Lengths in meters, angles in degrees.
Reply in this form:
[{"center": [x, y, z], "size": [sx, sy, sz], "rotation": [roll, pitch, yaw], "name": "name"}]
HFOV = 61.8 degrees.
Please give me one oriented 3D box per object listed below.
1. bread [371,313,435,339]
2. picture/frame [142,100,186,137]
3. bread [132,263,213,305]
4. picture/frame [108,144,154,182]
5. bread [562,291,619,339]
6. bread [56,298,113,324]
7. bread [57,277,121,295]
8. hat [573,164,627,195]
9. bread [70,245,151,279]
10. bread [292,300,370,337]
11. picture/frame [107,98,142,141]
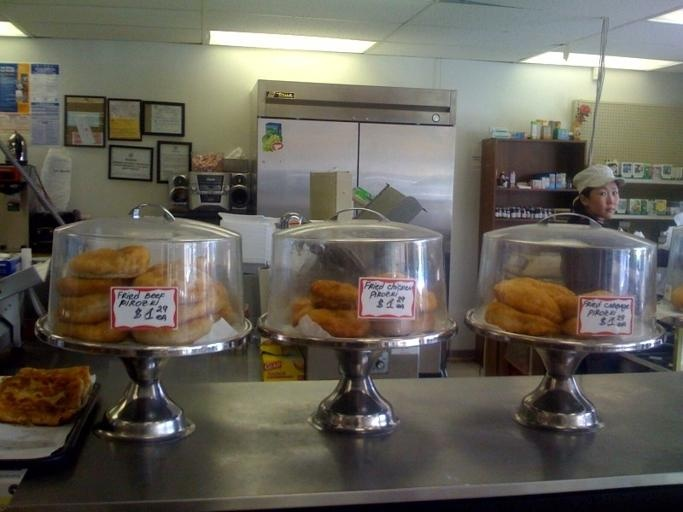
[{"center": [0.156, 0.171, 1.395], "size": [0.166, 0.045, 0.042], "rotation": [-5, 15, -21], "name": "bread"}, {"center": [-1.517, -1.166, 4.811], "size": [0.325, 0.271, 0.024], "rotation": [0, 6, -10], "name": "picture/frame"}, {"center": [-0.387, 0.046, 1.332], "size": [0.120, 0.035, 0.111], "rotation": [12, 10, 27], "name": "bread"}, {"center": [-1.795, -0.793, 4.822], "size": [0.328, 0.270, 0.027], "rotation": [0, 1, -14], "name": "picture/frame"}, {"center": [0.590, 0.138, 1.383], "size": [0.111, 0.108, 0.038], "rotation": [-2, 0, 11], "name": "bread"}, {"center": [-0.601, 0.121, 1.325], "size": [0.148, 0.070, 0.036], "rotation": [8, 16, 25], "name": "bread"}, {"center": [-0.591, 0.073, 1.328], "size": [0.170, 0.048, 0.029], "rotation": [5, 15, 15], "name": "bread"}, {"center": [1.684, -0.516, 3.892], "size": [0.321, 0.187, 0.425], "rotation": [-7, 7, -26], "name": "hat"}, {"center": [-0.540, 0.007, 1.324], "size": [0.118, 0.040, 0.091], "rotation": [2, 2, 9], "name": "bread"}, {"center": [-0.029, 0.142, 1.413], "size": [0.128, 0.044, 0.094], "rotation": [10, 2, 23], "name": "bread"}, {"center": [-1.822, -1.156, 4.770], "size": [0.359, 0.450, 0.020], "rotation": [1, 7, -7], "name": "picture/frame"}]
